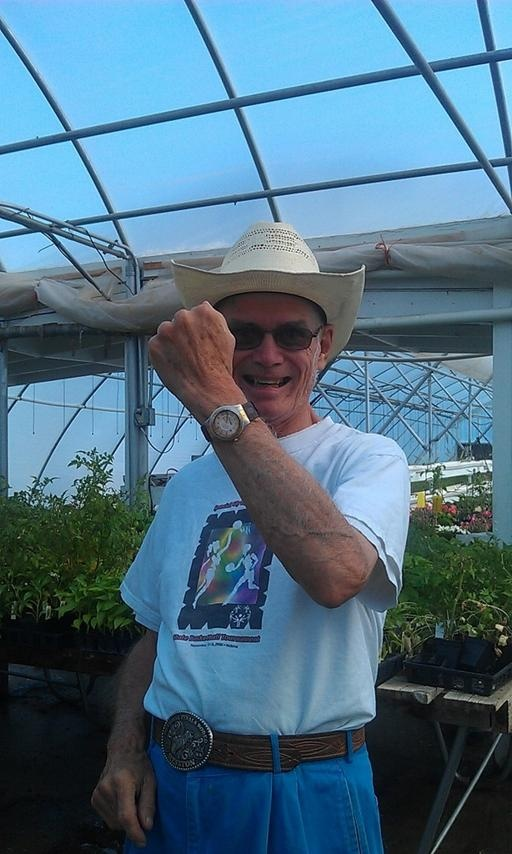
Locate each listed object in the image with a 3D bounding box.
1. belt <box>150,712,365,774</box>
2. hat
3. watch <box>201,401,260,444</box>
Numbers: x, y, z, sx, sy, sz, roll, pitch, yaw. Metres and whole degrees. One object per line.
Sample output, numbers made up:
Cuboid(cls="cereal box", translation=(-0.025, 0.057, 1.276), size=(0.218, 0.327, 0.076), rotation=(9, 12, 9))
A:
Cuboid(cls="belt", translation=(-0.009, 0.612, 1.334), size=(0.369, 0.111, 0.070), rotation=(-1, 2, 11))
Cuboid(cls="hat", translation=(0.054, -0.345, 1.585), size=(0.342, 0.161, 0.421), rotation=(2, -22, 4))
Cuboid(cls="watch", translation=(-0.047, -0.007, 1.156), size=(0.100, 0.065, 0.072), rotation=(-1, 2, 9))
